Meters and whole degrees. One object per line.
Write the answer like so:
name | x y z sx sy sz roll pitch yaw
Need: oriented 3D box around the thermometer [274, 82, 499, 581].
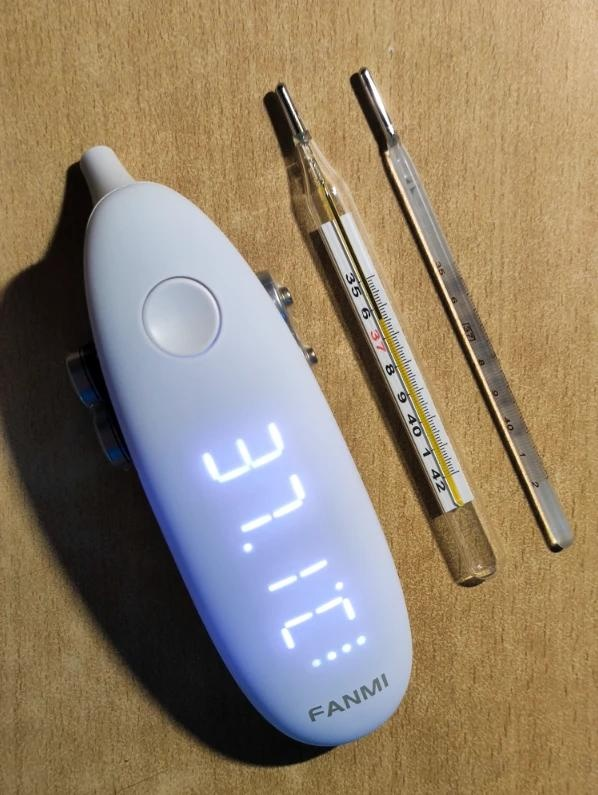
thermometer | 0.070 -0.061 0.957 0.056 0.035 0.472 -25 91 -4

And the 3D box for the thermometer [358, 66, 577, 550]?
thermometer | 0.142 -0.080 0.985 0.043 0.037 0.461 -25 93 -1
